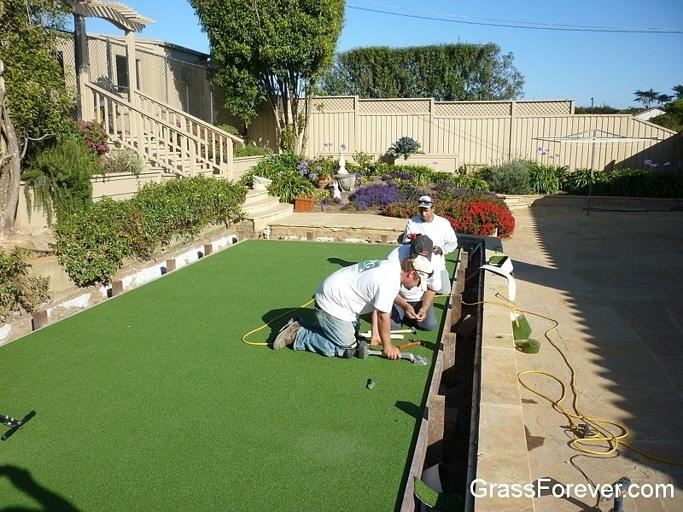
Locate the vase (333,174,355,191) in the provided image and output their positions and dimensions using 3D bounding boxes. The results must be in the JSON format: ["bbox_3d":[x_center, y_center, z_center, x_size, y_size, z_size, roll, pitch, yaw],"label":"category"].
[{"bbox_3d":[0.066,-2.427,16.323,0.530,0.439,0.545,-4,6,-30],"label":"vase"}]

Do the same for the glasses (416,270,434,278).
[{"bbox_3d":[0.894,0.182,5.147,0.063,0.083,0.230,12,17,39],"label":"glasses"}]

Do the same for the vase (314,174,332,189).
[{"bbox_3d":[-0.620,-2.515,16.333,0.428,0.397,0.448,3,6,34],"label":"vase"}]

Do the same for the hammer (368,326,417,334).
[{"bbox_3d":[0.594,0.878,5.736,0.578,0.103,0.169,2,7,5],"label":"hammer"}]

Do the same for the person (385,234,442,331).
[{"bbox_3d":[0.937,0.418,6.580,0.737,1.099,1.323,-2,39,17],"label":"person"}]

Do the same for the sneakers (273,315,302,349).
[{"bbox_3d":[-0.626,0.910,5.650,0.203,0.499,0.180,29,-21,4],"label":"sneakers"}]

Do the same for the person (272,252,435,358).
[{"bbox_3d":[0.155,0.510,5.553,1.708,1.309,0.846,7,19,12],"label":"person"}]

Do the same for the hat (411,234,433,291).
[{"bbox_3d":[0.905,0.008,5.352,0.258,0.616,0.288,3,-26,3],"label":"hat"}]

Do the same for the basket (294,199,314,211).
[{"bbox_3d":[-1.120,-1.500,14.246,0.369,0.268,0.402,3,10,8],"label":"basket"}]

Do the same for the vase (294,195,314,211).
[{"bbox_3d":[-1.114,-1.604,14.340,0.406,0.303,0.448,4,13,8],"label":"vase"}]
